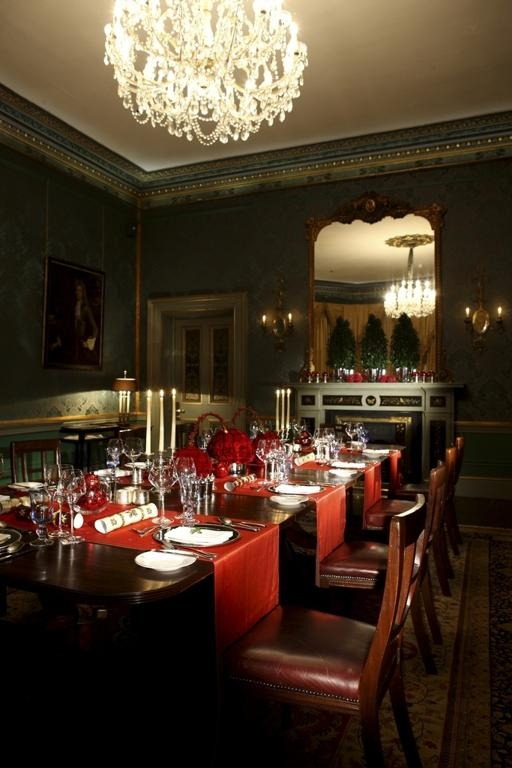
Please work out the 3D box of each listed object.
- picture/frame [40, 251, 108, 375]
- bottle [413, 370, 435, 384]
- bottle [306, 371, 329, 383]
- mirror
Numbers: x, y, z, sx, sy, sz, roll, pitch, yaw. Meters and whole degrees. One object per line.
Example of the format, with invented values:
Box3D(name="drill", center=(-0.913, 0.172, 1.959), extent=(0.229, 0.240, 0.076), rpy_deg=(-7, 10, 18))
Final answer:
Box3D(name="picture/frame", center=(-2.109, -0.787, 6.160), extent=(0.068, 0.943, 0.965), rpy_deg=(3, 1, 21))
Box3D(name="bottle", center=(1.786, -0.091, 5.712), extent=(0.168, 0.089, 0.139), rpy_deg=(0, 3, -13))
Box3D(name="bottle", center=(0.703, -0.082, 6.155), extent=(0.159, 0.157, 0.260), rpy_deg=(-4, -3, 7))
Box3D(name="mirror", center=(1.400, -1.093, 5.936), extent=(2.044, 2.822, 0.113), rpy_deg=(-1, -5, 20))
